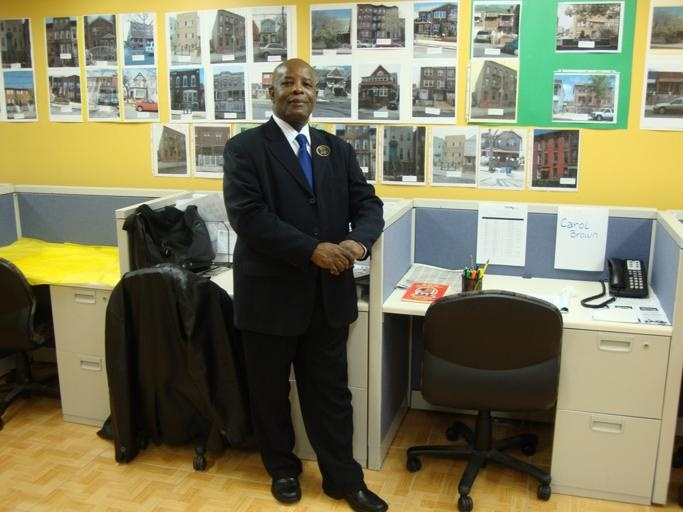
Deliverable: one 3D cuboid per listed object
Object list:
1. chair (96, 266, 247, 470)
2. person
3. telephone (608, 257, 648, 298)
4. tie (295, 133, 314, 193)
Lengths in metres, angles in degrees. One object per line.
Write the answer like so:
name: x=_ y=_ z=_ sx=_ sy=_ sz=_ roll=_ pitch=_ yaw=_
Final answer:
chair: x=-0.772 y=0.542 z=2.689 sx=0.795 sy=0.928 sz=0.406 roll=5 pitch=24 yaw=11
person: x=-0.136 y=0.139 z=2.496 sx=0.704 sy=1.908 sz=0.409 roll=1 pitch=12 yaw=4
telephone: x=1.351 y=0.101 z=2.743 sx=0.171 sy=0.089 sz=0.231 roll=-4 pitch=34 yaw=18
tie: x=-0.149 y=-0.397 z=2.409 sx=0.059 sy=0.220 sz=0.100 roll=-4 pitch=13 yaw=-20
